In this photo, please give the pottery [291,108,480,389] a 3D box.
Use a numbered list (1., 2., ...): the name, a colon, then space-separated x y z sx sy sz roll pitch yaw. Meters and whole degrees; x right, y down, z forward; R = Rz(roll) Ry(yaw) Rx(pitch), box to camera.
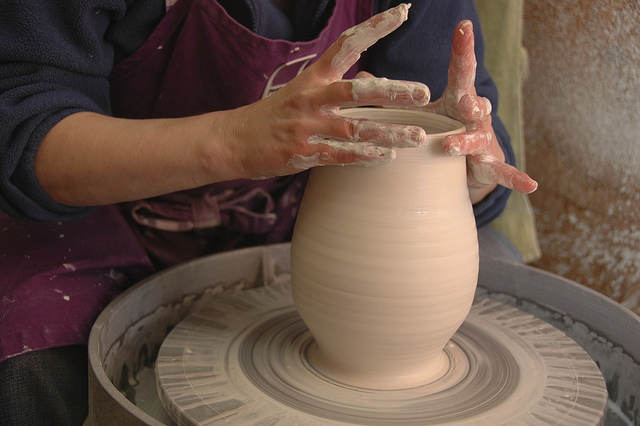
1. pottery: 0.178 0.103 1.719 0.516 0.647 0.491 -8 17 -36
